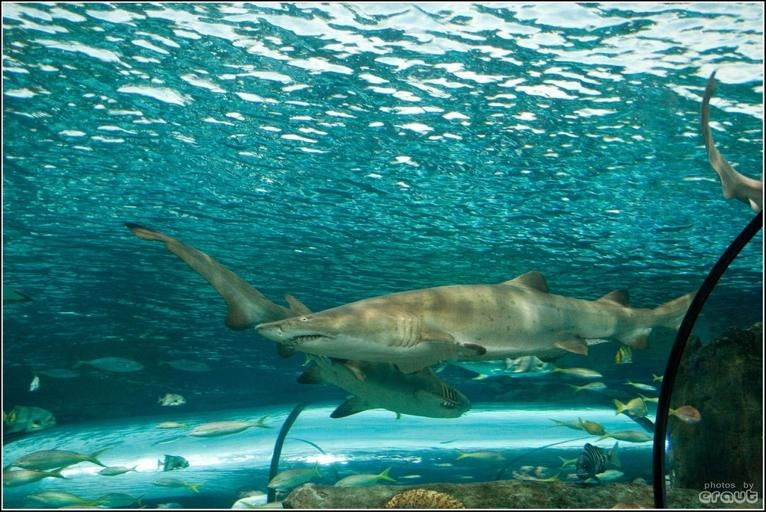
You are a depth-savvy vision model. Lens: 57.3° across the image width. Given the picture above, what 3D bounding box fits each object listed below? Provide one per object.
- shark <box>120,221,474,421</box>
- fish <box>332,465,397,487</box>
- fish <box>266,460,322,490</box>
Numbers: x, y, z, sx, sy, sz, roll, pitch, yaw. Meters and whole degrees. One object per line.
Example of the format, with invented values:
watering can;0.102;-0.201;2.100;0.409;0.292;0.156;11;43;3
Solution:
shark;-1.754;1.732;14.372;3.046;8.731;1.914;6;65;57
fish;-0.344;4.982;15.605;0.535;0.368;1.398;-5;-3;44
fish;-2.036;5.155;16.215;1.253;0.548;0.453;-3;-1;-4
